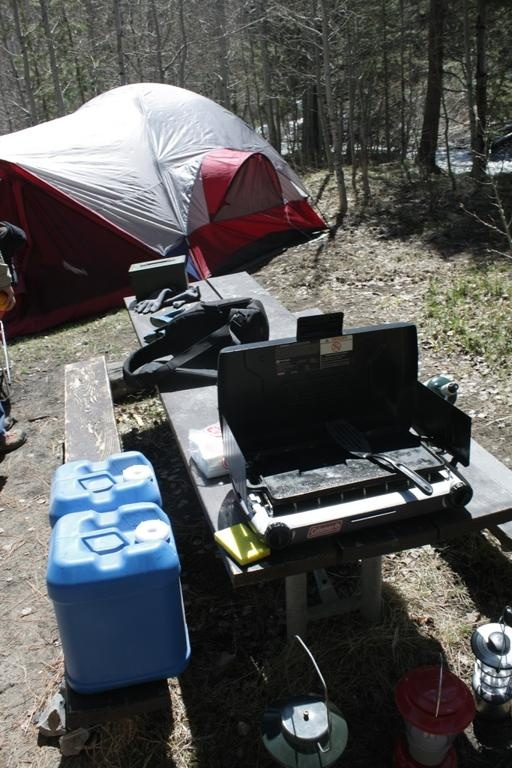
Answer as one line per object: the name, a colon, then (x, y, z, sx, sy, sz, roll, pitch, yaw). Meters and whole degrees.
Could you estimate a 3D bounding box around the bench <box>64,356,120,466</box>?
bench: (-1.135, 0.186, 4.001, 0.171, 0.195, 0.812, -7, 40, -11)

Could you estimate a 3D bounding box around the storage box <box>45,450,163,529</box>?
storage box: (-0.564, 0.381, 2.174, 0.330, 0.139, 0.331, -10, 32, -8)

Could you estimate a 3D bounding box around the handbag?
handbag: (-0.371, -0.219, 3.408, 0.768, 0.329, 0.555, -35, 25, -30)

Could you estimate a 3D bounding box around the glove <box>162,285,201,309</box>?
glove: (-0.563, -0.646, 4.457, 0.213, 0.085, 0.214, -20, 17, 2)

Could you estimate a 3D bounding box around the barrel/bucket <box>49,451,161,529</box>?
barrel/bucket: (-0.560, 0.384, 2.179, 0.330, 0.132, 0.331, -3, 31, 2)
